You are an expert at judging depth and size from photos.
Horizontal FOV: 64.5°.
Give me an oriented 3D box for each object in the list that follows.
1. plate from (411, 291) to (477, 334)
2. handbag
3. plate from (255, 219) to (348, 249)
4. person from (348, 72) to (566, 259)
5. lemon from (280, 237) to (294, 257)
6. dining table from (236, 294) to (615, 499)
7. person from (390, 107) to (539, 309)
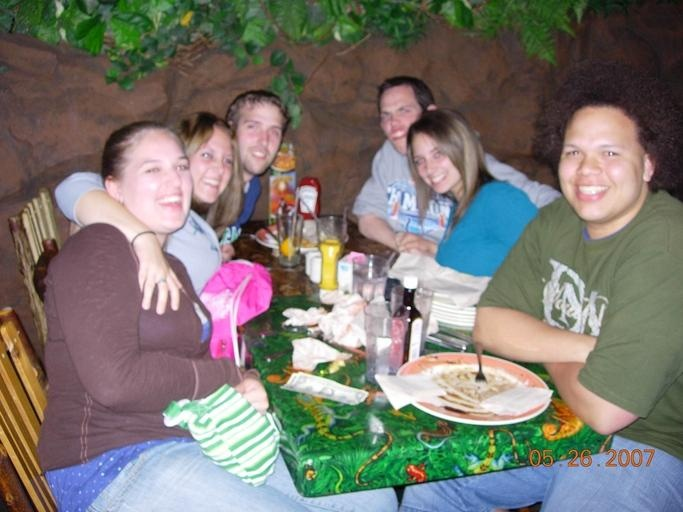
[{"bbox_3d":[0.409,0.219,2.048,0.177,0.076,0.201,7,15,-19],"label":"plate"},{"bbox_3d":[-0.367,0.569,1.704,0.332,0.129,0.254,37,54,-12],"label":"handbag"},{"bbox_3d":[-0.300,-0.116,3.055,0.276,0.038,0.278,2,26,1],"label":"plate"},{"bbox_3d":[0.652,-0.483,3.384,1.287,1.030,0.665,13,52,15],"label":"person"},{"bbox_3d":[-0.271,-0.048,2.693,0.079,0.097,0.076,-7,16,-28],"label":"lemon"},{"bbox_3d":[0.128,0.486,1.690,1.253,0.338,0.620,7,7,28],"label":"dining table"},{"bbox_3d":[0.633,-0.324,2.747,0.759,0.855,0.460,4,27,43],"label":"person"}]
